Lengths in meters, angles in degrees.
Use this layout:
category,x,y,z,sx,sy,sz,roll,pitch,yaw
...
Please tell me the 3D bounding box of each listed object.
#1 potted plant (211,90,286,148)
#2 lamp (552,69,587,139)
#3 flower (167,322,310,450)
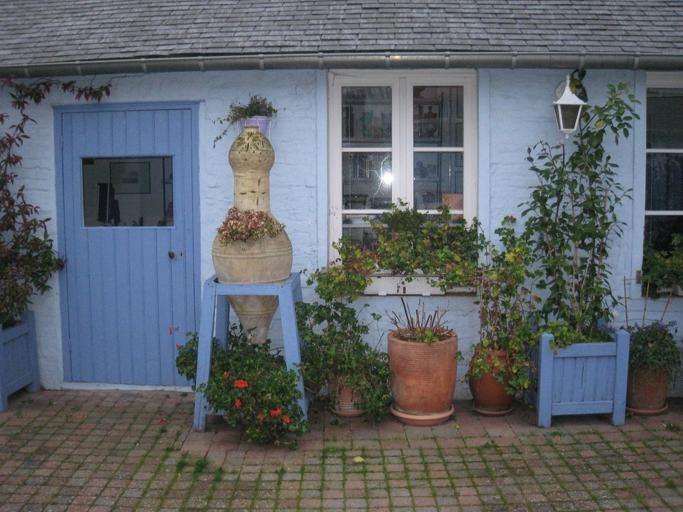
category,x,y,z,sx,sy,sz,roll,pitch,yaw
potted plant,-1.008,-1.386,6.759,0.401,0.312,0.579,6,15,15
lamp,2.280,-1.512,6.581,0.318,0.662,0.461,2,9,19
flower,-0.825,1.267,6.157,1.053,0.877,0.742,7,12,41
